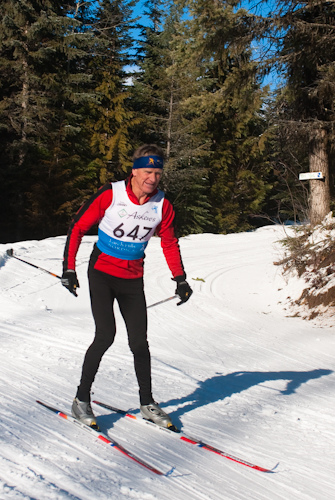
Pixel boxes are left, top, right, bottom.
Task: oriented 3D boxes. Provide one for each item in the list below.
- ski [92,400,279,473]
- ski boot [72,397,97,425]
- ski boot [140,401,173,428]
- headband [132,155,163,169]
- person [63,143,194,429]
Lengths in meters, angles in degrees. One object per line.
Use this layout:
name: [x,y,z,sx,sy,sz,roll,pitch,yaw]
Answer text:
ski: [0.105,1.303,3.137,1.159,0.085,0.108,19,-25,36]
ski boot: [-0.555,1.089,3.054,0.251,0.106,0.090,31,7,38]
ski boot: [-0.075,1.166,3.291,0.275,0.120,0.099,19,21,30]
headband: [-0.119,-0.586,3.048,0.202,0.119,0.166,9,8,-12]
person: [-0.253,0.280,3.136,0.904,2.024,0.591,8,9,-25]
